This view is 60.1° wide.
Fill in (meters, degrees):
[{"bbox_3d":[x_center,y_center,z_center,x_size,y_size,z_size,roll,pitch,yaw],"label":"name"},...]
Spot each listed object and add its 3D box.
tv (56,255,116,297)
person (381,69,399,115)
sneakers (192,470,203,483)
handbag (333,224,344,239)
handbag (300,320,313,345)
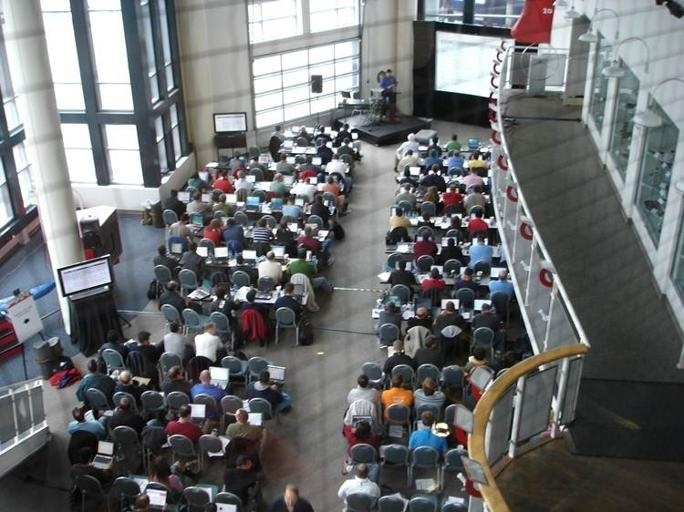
[{"bbox_3d":[-5.297,0.413,12.114,0.818,0.551,0.255,-16,37,-24],"label":"tv"},{"bbox_3d":[1.813,-6.351,23.189,0.584,1.832,0.715,-3,19,0],"label":"person"},{"bbox_3d":[-2.347,3.576,9.578,0.107,0.160,0.284,-1,18,4],"label":"sneakers"},{"bbox_3d":[-0.125,-0.679,16.572,0.362,0.463,0.679,-5,6,2],"label":"handbag"},{"bbox_3d":[-0.773,1.633,12.508,0.229,0.307,0.406,-3,32,-1],"label":"handbag"}]
